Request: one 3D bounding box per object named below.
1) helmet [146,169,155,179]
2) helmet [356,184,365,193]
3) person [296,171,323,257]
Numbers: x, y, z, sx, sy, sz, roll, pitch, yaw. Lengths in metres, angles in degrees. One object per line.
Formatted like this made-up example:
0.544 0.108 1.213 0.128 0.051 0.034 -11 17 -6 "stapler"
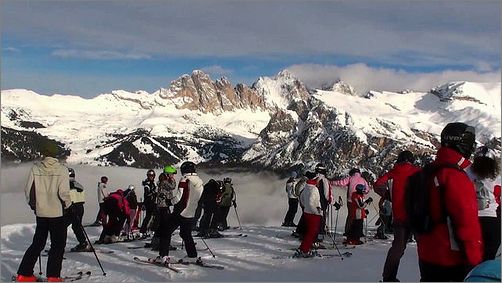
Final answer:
-5.493 1.788 31.626 0.434 0.447 0.464 -1 4 -17 "helmet"
5.741 2.479 30.490 0.619 0.412 0.167 -2 0 -33 "helmet"
2.838 3.541 28.441 1.264 4.001 0.720 -2 0 13 "person"
